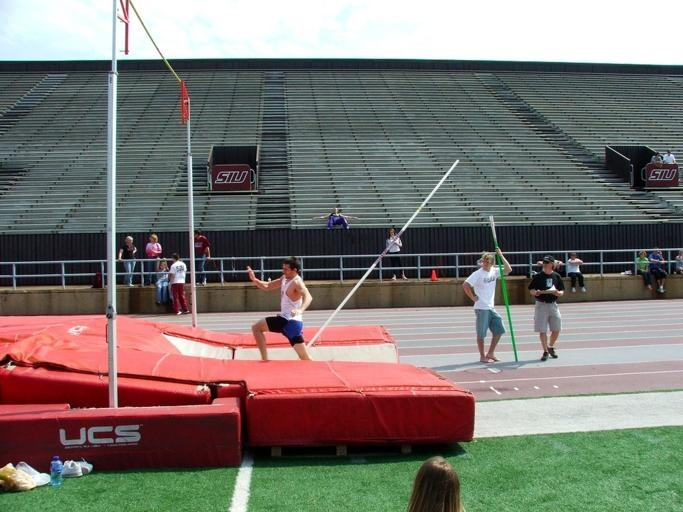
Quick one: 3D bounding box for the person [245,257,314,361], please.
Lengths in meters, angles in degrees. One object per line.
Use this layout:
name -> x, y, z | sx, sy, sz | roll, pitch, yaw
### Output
person -> -1.306, 1.142, 21.833 | 1.254, 2.208, 1.239 | -3, -4, -6

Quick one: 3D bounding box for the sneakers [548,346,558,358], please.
sneakers -> 5.057, 2.331, 24.267 | 0.179, 0.330, 0.139 | -5, -3, 1

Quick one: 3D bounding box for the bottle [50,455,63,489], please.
bottle -> -5.262, 4.006, 18.896 | 0.230, 0.534, 0.280 | -7, -6, 41

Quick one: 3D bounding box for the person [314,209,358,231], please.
person -> -0.104, -1.429, 35.710 | 1.681, 0.678, 0.870 | 1, -22, -4

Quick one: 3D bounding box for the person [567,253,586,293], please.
person -> 7.486, 0.516, 32.488 | 0.562, 1.277, 0.850 | -4, -4, 12

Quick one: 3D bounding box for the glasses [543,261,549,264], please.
glasses -> 4.822, 0.159, 23.852 | 0.113, 0.037, 0.042 | -4, -4, 19

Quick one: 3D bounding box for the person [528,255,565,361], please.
person -> 4.867, 1.243, 23.969 | 0.743, 2.446, 0.630 | -4, -5, 10

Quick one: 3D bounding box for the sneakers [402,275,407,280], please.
sneakers -> 2.059, 0.706, 33.318 | 0.158, 0.167, 0.469 | 0, 3, 11

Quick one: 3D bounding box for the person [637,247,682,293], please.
person -> 10.103, 0.542, 33.019 | 0.963, 1.518, 0.631 | -4, -4, 10
